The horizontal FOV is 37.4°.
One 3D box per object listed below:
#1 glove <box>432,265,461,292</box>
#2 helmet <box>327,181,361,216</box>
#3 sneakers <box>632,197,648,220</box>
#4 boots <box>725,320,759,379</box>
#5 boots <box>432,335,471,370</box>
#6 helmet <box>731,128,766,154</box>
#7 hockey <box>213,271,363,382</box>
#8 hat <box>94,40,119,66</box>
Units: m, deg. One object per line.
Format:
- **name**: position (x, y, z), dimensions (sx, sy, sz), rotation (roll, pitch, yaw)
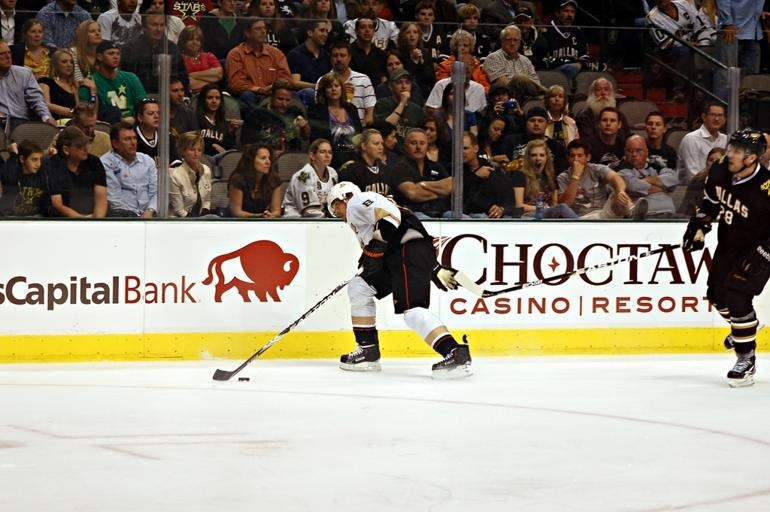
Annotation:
- **glove**: position (0.540, 0.171, 9.092), dimensions (0.233, 0.205, 0.071), rotation (14, 18, 15)
- **helmet**: position (-0.348, -0.462, 9.221), dimensions (0.291, 0.225, 0.214), rotation (-13, -16, 9)
- **sneakers**: position (2.301, -0.390, 9.895), dimensions (0.088, 0.227, 0.117), rotation (13, -9, -27)
- **boots**: position (2.837, 0.750, 8.734), dimensions (0.189, 0.466, 0.340), rotation (5, 15, 19)
- **boots**: position (0.540, 0.783, 8.888), dimensions (0.383, 0.273, 0.127), rotation (-11, 3, 19)
- **helmet**: position (2.874, -0.880, 8.768), dimensions (0.263, 0.199, 0.195), rotation (-15, 20, -35)
- **hockey**: position (-0.841, 0.582, 9.345), dimensions (1.353, 0.104, 0.149), rotation (-33, 43, -15)
- **hat**: position (-2.266, -1.622, 9.165), dimensions (0.207, 0.181, 0.172), rotation (-18, -6, 35)
